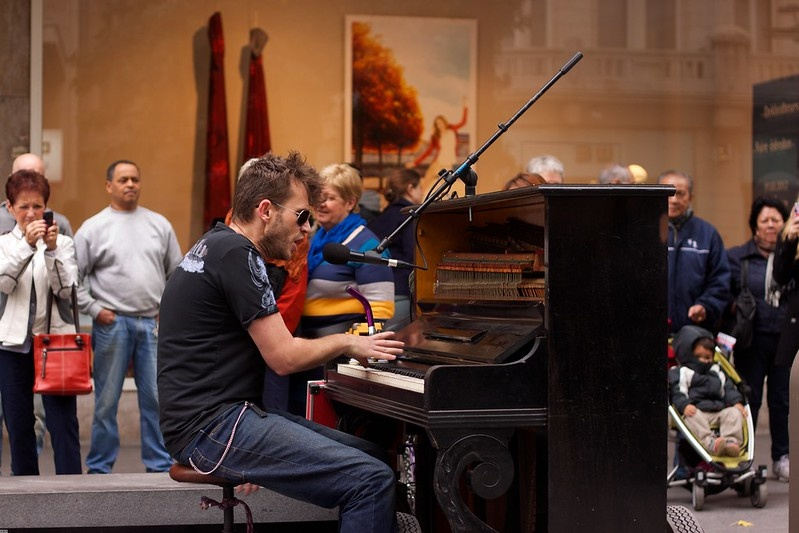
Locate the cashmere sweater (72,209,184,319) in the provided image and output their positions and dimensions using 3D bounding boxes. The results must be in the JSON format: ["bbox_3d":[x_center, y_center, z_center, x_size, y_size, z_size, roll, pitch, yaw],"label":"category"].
[{"bbox_3d":[-2.291,0.002,8.428,1.069,0.973,0.578,-6,18,-35],"label":"cashmere sweater"}]

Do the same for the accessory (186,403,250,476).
[{"bbox_3d":[-1.045,1.084,5.977,0.273,0.466,0.112,23,-15,49],"label":"accessory"}]

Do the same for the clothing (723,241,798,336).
[{"bbox_3d":[3.131,0.218,8.568,0.855,0.868,0.502,3,-6,-37],"label":"clothing"}]

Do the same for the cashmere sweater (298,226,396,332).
[{"bbox_3d":[-0.401,0.115,7.225,0.447,0.668,0.739,10,-12,-30],"label":"cashmere sweater"}]

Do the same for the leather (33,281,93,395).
[{"bbox_3d":[-2.526,0.459,7.583,0.507,1.021,0.295,-2,4,17],"label":"leather"}]

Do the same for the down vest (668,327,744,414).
[{"bbox_3d":[2.471,0.863,8.019,0.605,0.732,0.551,1,2,4],"label":"down vest"}]

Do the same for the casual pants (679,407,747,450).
[{"bbox_3d":[2.497,1.270,7.857,0.329,0.157,0.405,-7,27,-16],"label":"casual pants"}]
